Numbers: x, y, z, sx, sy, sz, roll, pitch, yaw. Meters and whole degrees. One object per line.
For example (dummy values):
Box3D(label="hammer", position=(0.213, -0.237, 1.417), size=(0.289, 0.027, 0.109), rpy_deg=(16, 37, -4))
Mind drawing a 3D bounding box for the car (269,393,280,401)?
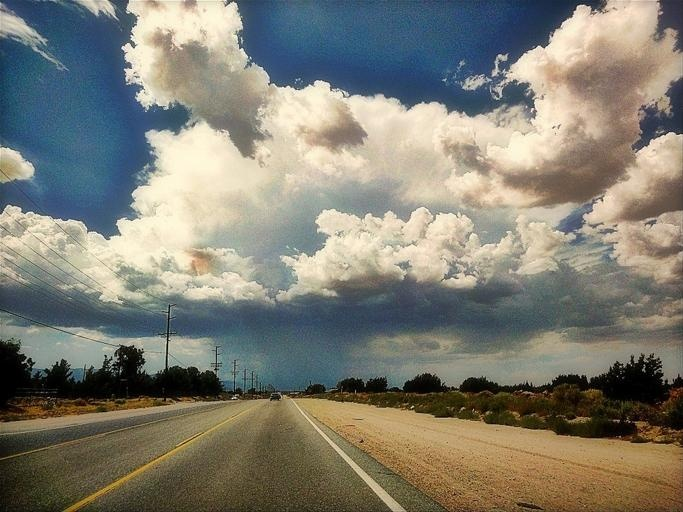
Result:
Box3D(label="car", position=(-9.412, 19.988, 72.041), size=(0.927, 0.841, 2.021), rpy_deg=(1, -2, 4))
